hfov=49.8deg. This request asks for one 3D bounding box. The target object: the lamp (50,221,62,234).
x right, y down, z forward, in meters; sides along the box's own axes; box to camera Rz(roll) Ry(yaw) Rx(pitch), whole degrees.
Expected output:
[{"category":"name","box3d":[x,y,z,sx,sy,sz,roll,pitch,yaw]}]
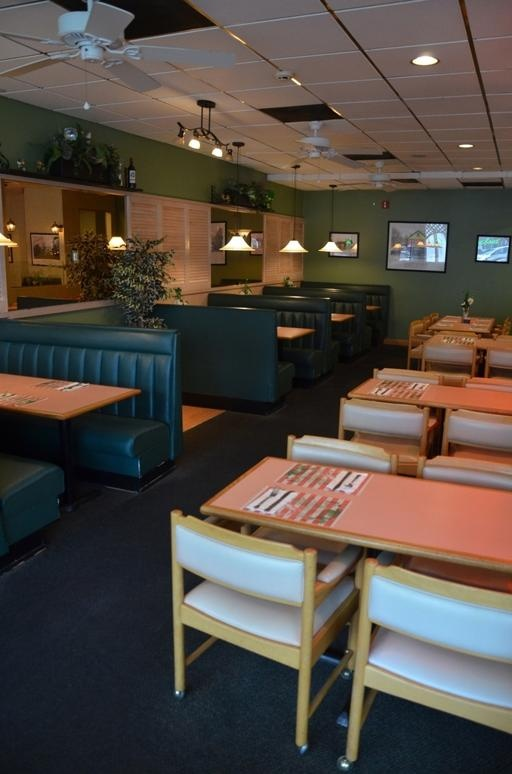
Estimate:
[{"category":"lamp","box3d":[-1.920,-1.517,5.305,0.065,0.093,0.095,8,16,20]}]

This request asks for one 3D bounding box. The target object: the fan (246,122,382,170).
[{"category":"fan","box3d":[0.721,-2.915,6.651,0.859,0.262,0.841,-6,12,-35]}]

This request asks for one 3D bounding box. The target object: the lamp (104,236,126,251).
[{"category":"lamp","box3d":[-1.565,-1.579,6.109,0.182,0.124,0.182,-5,27,-5]}]

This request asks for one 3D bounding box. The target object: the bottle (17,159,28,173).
[{"category":"bottle","box3d":[-2.131,-2.017,5.010,0.068,0.102,0.150,-3,11,-5]}]

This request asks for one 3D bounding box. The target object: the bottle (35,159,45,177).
[{"category":"bottle","box3d":[-2.016,-2.058,5.156,0.082,0.140,0.168,-6,12,-20]}]
